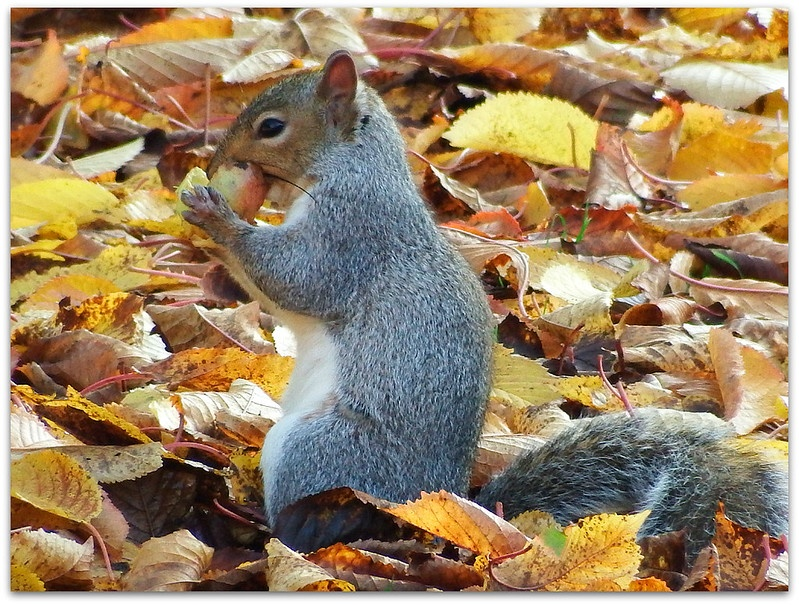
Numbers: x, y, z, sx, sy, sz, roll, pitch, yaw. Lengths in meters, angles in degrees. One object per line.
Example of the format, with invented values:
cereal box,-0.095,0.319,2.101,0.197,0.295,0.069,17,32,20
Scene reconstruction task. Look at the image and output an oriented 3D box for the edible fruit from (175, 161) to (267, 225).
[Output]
edible fruit,-0.738,-0.472,6.006,0.377,0.258,0.245,-4,101,-13
